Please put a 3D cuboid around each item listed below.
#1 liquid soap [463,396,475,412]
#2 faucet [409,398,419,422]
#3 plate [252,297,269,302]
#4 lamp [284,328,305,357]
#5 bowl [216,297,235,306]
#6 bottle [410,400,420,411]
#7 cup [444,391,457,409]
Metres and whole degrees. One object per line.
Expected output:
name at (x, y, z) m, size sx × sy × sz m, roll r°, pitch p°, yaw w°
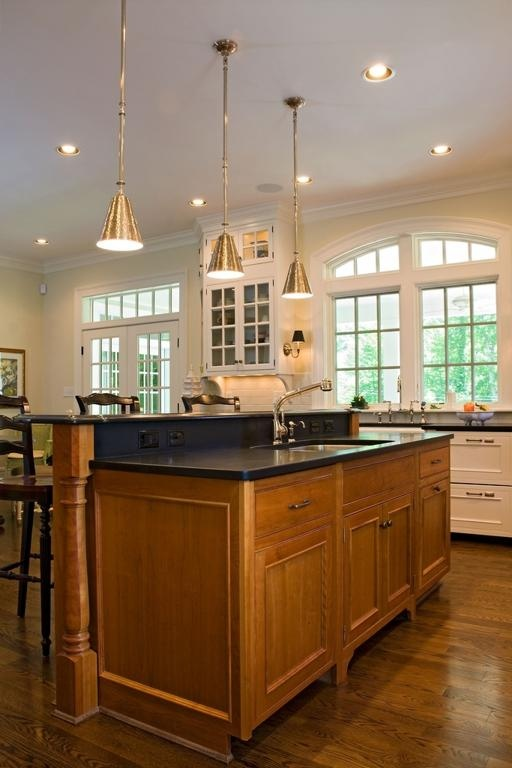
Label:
liquid soap at (1.575, 0.158, 4.588) m, size 0.080 × 0.056 × 0.151 m, roll 1°, pitch 3°, yaw 18°
faucet at (1.274, 0.217, 5.005) m, size 0.084 × 0.171 × 0.182 m, roll -1°, pitch -3°, yaw 13°
plate at (0.043, -0.747, 5.491) m, size 0.124 × 0.041 × 0.032 m, roll -2°, pitch -3°, yaw 29°
lamp at (0.348, -0.355, 5.531) m, size 0.175 × 0.231 × 0.226 m, roll -1°, pitch -3°, yaw 19°
bowl at (-0.284, -0.750, 5.717) m, size 0.108 × 0.039 × 0.097 m, roll 0°, pitch -1°, yaw -33°
bottle at (1.291, 0.168, 5.048) m, size 0.084 × 0.063 × 0.084 m, roll -1°, pitch 3°, yaw 0°
cup at (1.539, 0.132, 4.900) m, size 0.106 × 0.217 × 0.109 m, roll 1°, pitch 0°, yaw 0°
